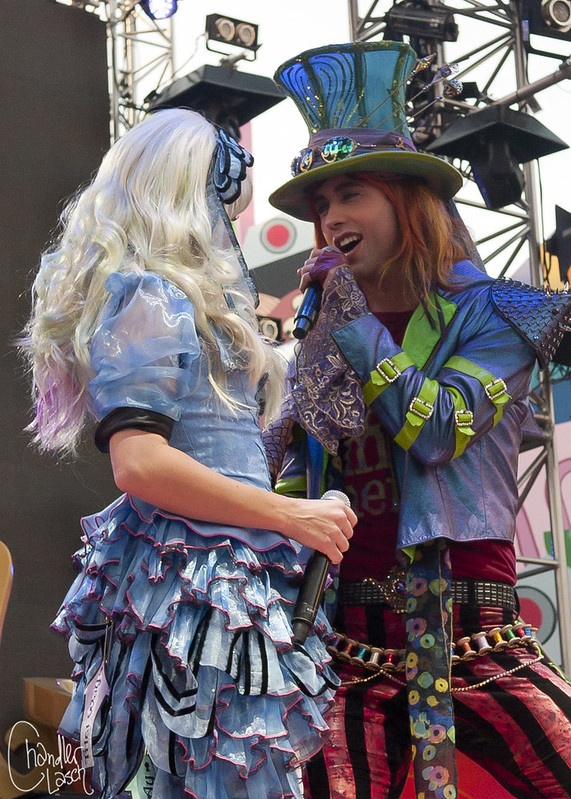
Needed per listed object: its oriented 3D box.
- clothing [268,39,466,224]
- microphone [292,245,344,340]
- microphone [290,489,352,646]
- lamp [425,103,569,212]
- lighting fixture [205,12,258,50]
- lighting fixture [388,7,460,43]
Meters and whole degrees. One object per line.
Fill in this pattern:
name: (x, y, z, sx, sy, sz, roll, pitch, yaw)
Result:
clothing: (0.215, -0.597, 2.394, 0.437, 0.278, 0.378, 8, -25, -18)
microphone: (0.075, -0.222, 2.216, 0.067, 0.247, 0.057, 7, -31, 28)
microphone: (0.052, 0.296, 1.585, 0.046, 0.161, 0.038, 13, -36, 8)
lamp: (1.099, -1.191, 5.281, 0.555, 0.371, 0.623, 4, -7, -45)
lighting fixture: (-0.305, -2.071, 5.883, 0.298, 0.209, 0.084, -2, 5, -4)
lighting fixture: (0.715, -1.924, 5.361, 0.349, 0.163, 0.122, 13, 9, 1)
